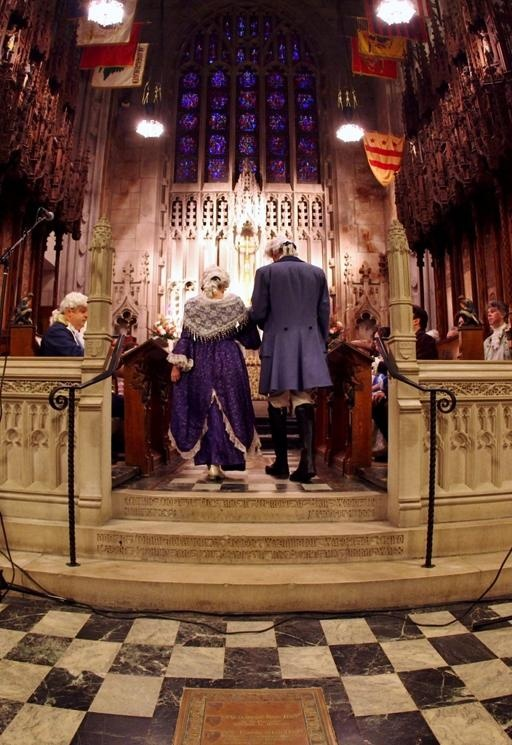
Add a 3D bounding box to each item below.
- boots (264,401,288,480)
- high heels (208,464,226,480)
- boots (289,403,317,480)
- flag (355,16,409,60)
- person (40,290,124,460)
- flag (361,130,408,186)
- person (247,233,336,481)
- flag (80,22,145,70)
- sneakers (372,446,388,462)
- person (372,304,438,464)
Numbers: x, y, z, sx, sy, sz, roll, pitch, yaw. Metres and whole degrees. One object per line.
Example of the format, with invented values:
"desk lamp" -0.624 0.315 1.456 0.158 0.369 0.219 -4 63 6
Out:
"boots" 0.155 0.506 4.509 0.196 0.501 0.126 -4 -6 43
"high heels" -0.273 0.719 4.404 0.059 0.072 0.174 0 5 2
"boots" 0.327 0.501 4.282 0.172 0.564 0.324 0 7 4
"flag" 1.868 -4.967 9.126 0.845 0.587 0.039 -2 24 -15
"person" -1.400 0.034 5.025 0.630 1.365 1.575 -2 7 -18
"flag" 2.186 -3.662 10.522 0.690 0.925 0.442 -4 8 -31
"person" 0.248 -0.093 4.444 0.659 1.781 0.619 3 7 27
"flag" -2.143 -4.896 9.196 1.028 1.019 0.078 3 -22 5
"sneakers" 1.081 0.720 5.378 0.112 0.118 0.325 1 7 10
"person" 1.283 0.099 5.378 0.526 1.355 1.367 1 7 12
